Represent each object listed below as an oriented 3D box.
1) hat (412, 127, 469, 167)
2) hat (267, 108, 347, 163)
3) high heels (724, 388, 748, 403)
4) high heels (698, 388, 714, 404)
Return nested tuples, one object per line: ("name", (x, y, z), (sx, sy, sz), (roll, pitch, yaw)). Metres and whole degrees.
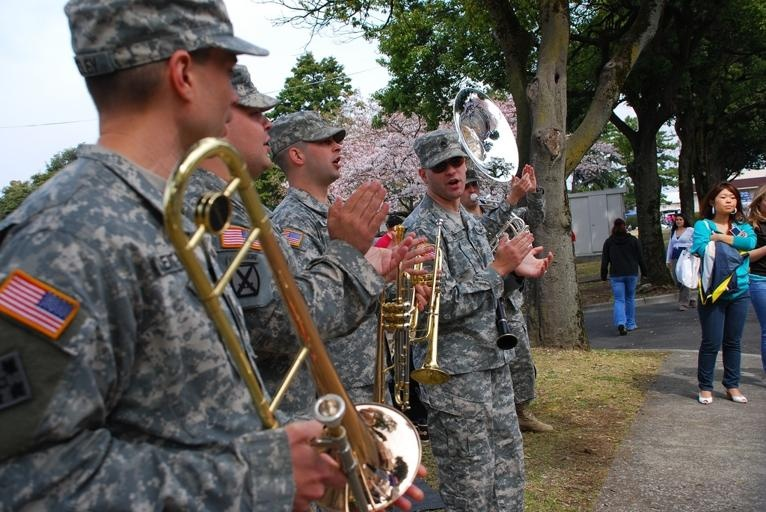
("hat", (0.371, -0.739, 4.301), (0.240, 0.105, 0.342), (-21, 39, -4))
("hat", (-0.467, -0.767, 3.847), (0.418, 0.147, 0.279), (-16, 4, 5))
("high heels", (3.660, 1.445, 6.476), (0.092, 0.118, 0.261), (1, -10, -5))
("high heels", (3.348, 1.460, 6.494), (0.093, 0.109, 0.268), (-4, -13, 34))
